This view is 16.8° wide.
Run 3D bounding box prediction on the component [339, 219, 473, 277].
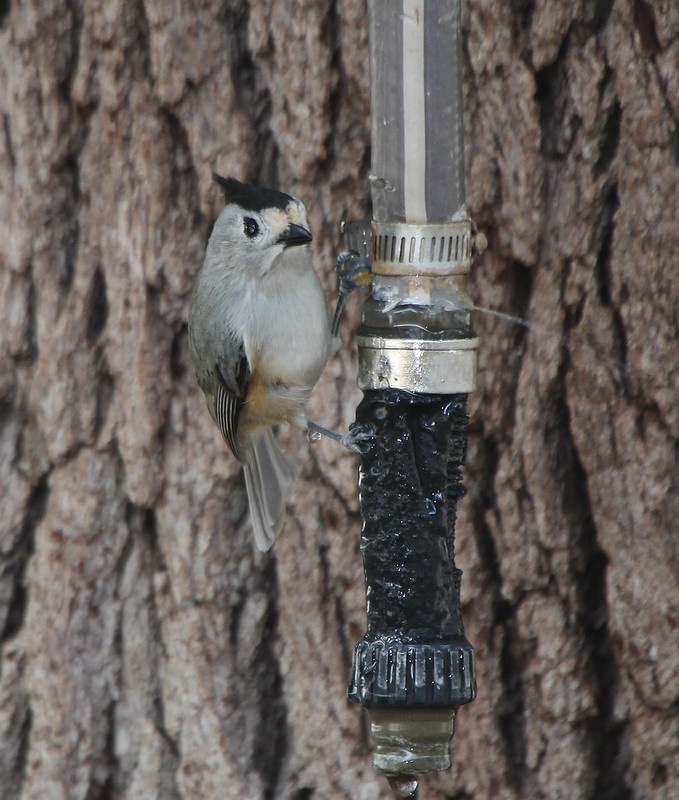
[{"bbox_3d":[0.130,-0.276,4.013,0.171,0.130,0.277,-4,9,-16],"label":"component"}]
